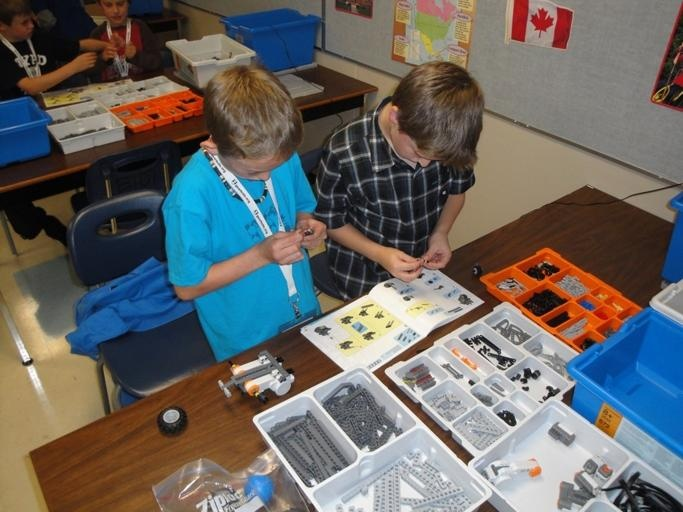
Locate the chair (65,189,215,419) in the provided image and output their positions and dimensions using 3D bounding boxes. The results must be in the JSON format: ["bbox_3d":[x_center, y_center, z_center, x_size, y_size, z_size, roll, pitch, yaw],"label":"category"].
[{"bbox_3d":[-0.999,0.101,2.553,0.654,1.118,0.724,-10,30,-6],"label":"chair"}]

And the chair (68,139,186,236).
[{"bbox_3d":[-1.084,-0.363,2.398,0.318,0.526,0.362,-23,73,-31],"label":"chair"}]
